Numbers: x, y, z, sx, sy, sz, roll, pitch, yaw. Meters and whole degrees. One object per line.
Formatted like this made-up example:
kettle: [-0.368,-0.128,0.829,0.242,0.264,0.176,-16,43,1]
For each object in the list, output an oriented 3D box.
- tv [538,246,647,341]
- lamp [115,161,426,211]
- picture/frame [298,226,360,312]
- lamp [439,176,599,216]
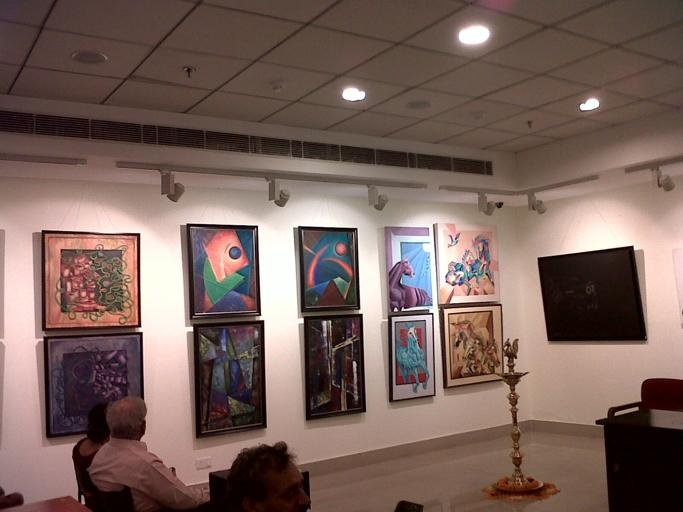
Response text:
tv: [4.388,0.622,8.764,1.450,1.551,0.148,-10,-7,44]
lamp: [-0.958,-0.961,7.320,4.188,0.506,0.361,2,-1,-12]
picture/frame: [-0.234,0.229,8.113,1.237,1.660,0.105,3,-10,-32]
lamp: [3.010,-1.007,9.212,2.807,0.521,0.403,2,-10,42]
